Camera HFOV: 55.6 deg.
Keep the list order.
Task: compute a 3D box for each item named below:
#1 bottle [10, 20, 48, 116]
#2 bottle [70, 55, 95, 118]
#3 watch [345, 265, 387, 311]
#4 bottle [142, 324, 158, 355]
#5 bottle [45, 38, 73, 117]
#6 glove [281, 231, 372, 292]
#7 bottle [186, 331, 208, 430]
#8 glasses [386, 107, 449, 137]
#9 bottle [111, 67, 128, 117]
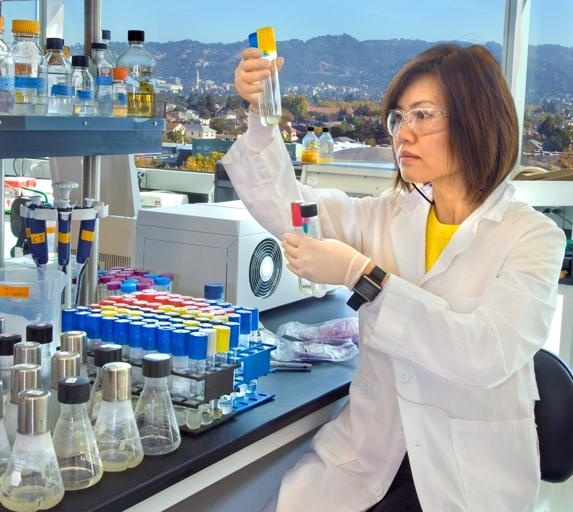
[{"bbox_3d":[-0.571,-0.425,1.211,0.070,0.243,0.254,-3,8,-24],"label":"bottle"},{"bbox_3d":[-0.510,-0.430,1.368,0.055,0.161,0.167,-3,8,-19],"label":"bottle"},{"bbox_3d":[0.178,0.074,1.194,0.060,0.105,0.079,-6,9,-40],"label":"watch"},{"bbox_3d":[-0.293,0.180,1.153,0.036,0.069,0.024,1,7,13],"label":"bottle"},{"bbox_3d":[-0.540,-0.430,1.293,0.055,0.206,0.214,-3,8,-21],"label":"bottle"},{"bbox_3d":[0.103,0.006,1.308,0.152,0.083,0.089,8,16,15],"label":"glove"},{"bbox_3d":[-0.183,0.263,1.144,0.050,0.210,0.071,-3,8,-22],"label":"bottle"},{"bbox_3d":[0.294,-0.326,1.338,0.096,0.069,0.177,-5,8,-31],"label":"glasses"},{"bbox_3d":[-0.420,-0.418,1.386,0.047,0.121,0.044,0,7,0],"label":"bottle"}]
